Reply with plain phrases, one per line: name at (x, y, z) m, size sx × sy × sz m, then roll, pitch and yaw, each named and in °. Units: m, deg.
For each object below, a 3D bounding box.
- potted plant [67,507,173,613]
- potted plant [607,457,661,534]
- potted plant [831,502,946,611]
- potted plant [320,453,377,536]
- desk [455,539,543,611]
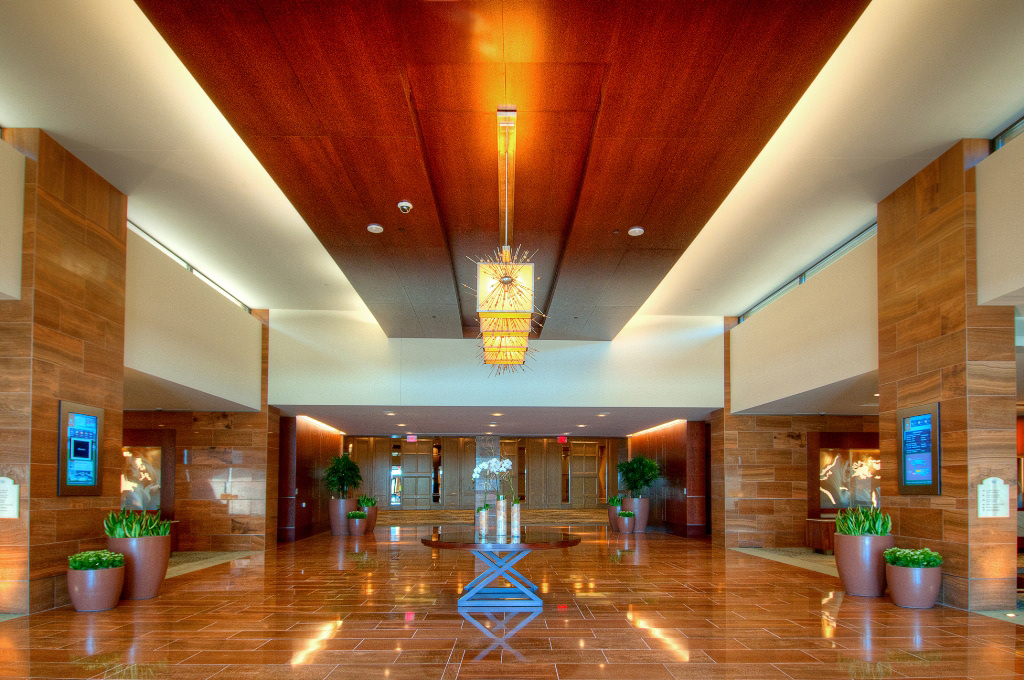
potted plant at (-4.984, 2.797, 8.660) m, size 0.904 × 1.185 × 0.991 m, roll 4°, pitch -15°, yaw -9°
potted plant at (3.441, 4.452, 19.272) m, size 1.300 × 1.976 × 3.524 m, roll -2°, pitch -15°, yaw 10°
potted plant at (4.797, 2.883, 8.826) m, size 0.844 × 0.845 × 1.343 m, roll 6°, pitch -13°, yaw -25°
potted plant at (-4.337, 4.165, 18.252) m, size 1.347 × 2.143 × 1.435 m, roll 4°, pitch -15°, yaw -10°
desk at (-0.212, 3.168, 9.132) m, size 1.316 × 0.675 × 1.174 m, roll 5°, pitch -16°, yaw -17°
